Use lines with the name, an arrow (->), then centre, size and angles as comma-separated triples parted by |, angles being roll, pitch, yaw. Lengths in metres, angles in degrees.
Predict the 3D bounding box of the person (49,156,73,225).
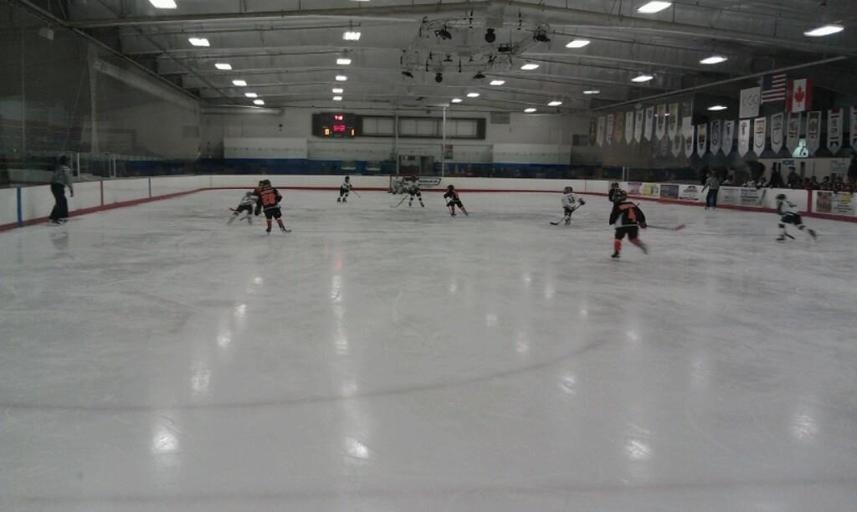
person -> -8.301, -1.530, 14.930 | 0.545, 1.449, 1.345 | -7, 16, -28

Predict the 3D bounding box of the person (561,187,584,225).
person -> 3.626, -1.327, 16.704 | 0.484, 1.123, 2.346 | 4, 14, 12

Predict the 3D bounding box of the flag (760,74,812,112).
flag -> 10.831, -4.917, 20.009 | 0.080, 1.305, 1.585 | 3, 6, -16

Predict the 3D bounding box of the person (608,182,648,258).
person -> 3.585, -0.625, 11.937 | 0.714, 1.185, 1.961 | 5, 14, 16

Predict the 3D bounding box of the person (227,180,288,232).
person -> -3.500, -1.045, 13.909 | 1.107, 0.457, 1.912 | 4, -10, -14

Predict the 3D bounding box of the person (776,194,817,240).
person -> 7.834, -0.874, 14.119 | 0.695, 1.080, 2.219 | 9, 16, 29
